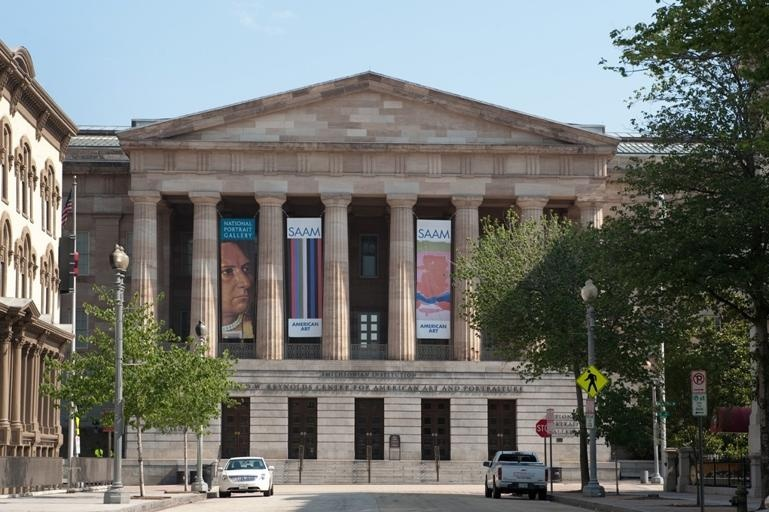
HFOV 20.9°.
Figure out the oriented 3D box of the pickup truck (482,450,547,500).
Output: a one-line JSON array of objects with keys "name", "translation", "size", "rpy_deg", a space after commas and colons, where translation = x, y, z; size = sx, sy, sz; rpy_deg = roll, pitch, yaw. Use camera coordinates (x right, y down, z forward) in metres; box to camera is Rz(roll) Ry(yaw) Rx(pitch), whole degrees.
[{"name": "pickup truck", "translation": [6.707, 11.179, 108.274], "size": [2.812, 2.107, 5.562], "rpy_deg": [1, -2, -6]}]
